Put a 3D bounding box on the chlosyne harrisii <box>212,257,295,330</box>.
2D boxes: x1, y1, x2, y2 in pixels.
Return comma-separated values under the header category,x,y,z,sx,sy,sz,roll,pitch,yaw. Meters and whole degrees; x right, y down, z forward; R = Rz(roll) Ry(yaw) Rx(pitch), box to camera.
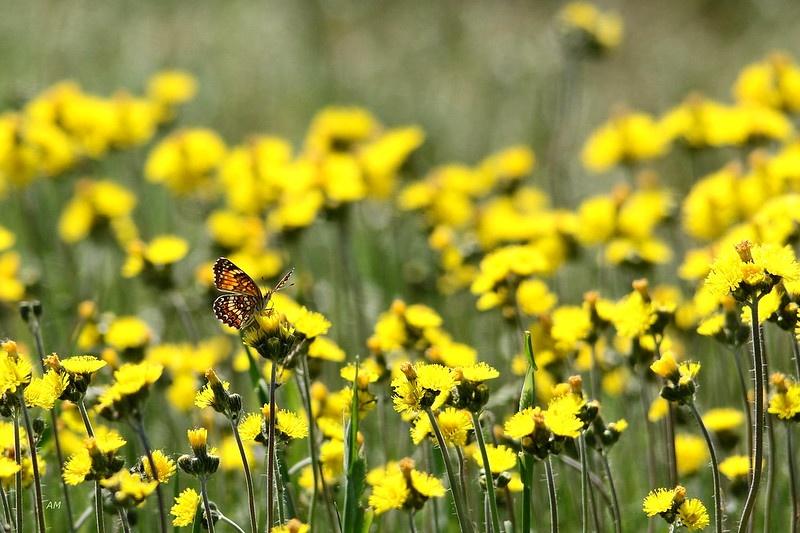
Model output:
category,x,y,z,sx,sy,sz,roll,pitch,yaw
chlosyne harrisii,-0.717,0.170,6.766,0.331,0.245,0.353,-17,-31,22
